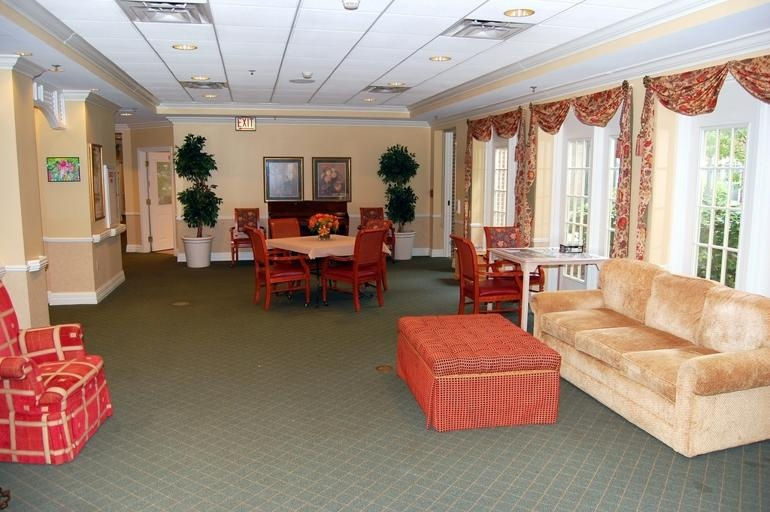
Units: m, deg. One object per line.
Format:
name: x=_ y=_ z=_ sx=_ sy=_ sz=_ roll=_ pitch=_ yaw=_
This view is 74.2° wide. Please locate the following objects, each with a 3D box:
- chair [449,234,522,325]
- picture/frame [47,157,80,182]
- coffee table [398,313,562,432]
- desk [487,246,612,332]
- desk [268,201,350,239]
chair: x=1.495 y=0.397 z=7.489 sx=1.164 sy=1.090 sz=0.970 roll=1 pitch=7 yaw=-23
picture/frame: x=-5.374 y=-1.505 z=8.485 sx=0.578 sy=0.376 sz=0.049 roll=0 pitch=2 yaw=-10
coffee table: x=0.946 y=1.189 z=5.326 sx=1.402 sy=0.898 sz=1.162 roll=-3 pitch=8 yaw=-7
desk: x=2.253 y=0.472 z=7.629 sx=1.629 sy=1.166 sz=1.415 roll=-1 pitch=6 yaw=-11
desk: x=-1.875 y=-0.849 z=12.656 sx=1.972 sy=1.045 sz=0.571 roll=-1 pitch=12 yaw=-11
